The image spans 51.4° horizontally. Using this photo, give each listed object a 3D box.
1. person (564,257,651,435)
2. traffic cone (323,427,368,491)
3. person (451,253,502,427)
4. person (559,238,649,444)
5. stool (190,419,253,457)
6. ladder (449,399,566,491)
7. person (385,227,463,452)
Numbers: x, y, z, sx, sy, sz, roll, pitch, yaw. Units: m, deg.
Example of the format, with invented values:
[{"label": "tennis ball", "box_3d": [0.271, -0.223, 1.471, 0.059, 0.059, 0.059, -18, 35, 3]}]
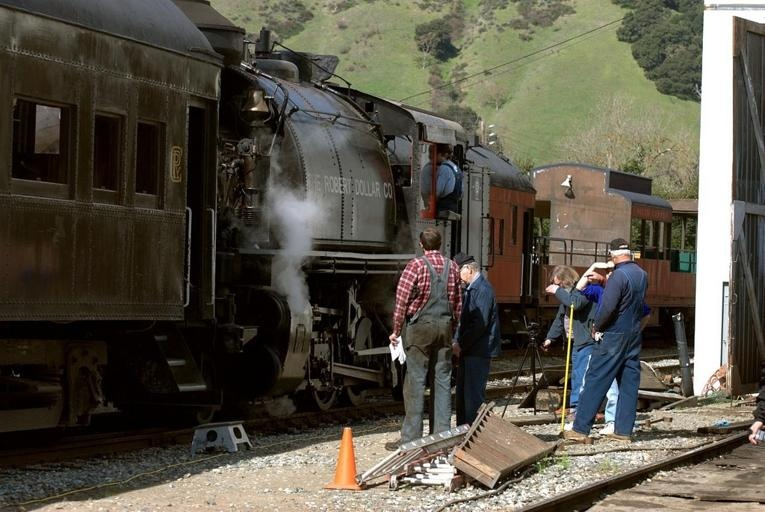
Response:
[{"label": "person", "box_3d": [3.302, 1.198, 11.490, 0.991, 2.992, 0.707, -1, 9, -21]}, {"label": "traffic cone", "box_3d": [-0.434, 2.256, 8.913, 0.417, 0.689, 0.375, 1, 3, 2]}, {"label": "person", "box_3d": [1.270, 1.096, 10.910, 0.691, 2.182, 0.805, 0, -1, 16]}, {"label": "person", "box_3d": [3.250, 1.213, 11.458, 1.084, 2.924, 0.732, 3, -1, -6]}, {"label": "stool", "box_3d": [-2.132, 2.411, 10.501, 0.831, 0.393, 0.408, -1, 3, -29]}, {"label": "ladder", "box_3d": [1.355, 2.190, 9.351, 0.642, 0.691, 1.493, 2, 3, 29]}, {"label": "person", "box_3d": [0.576, 0.931, 10.237, 0.878, 2.503, 1.231, 0, 0, 20]}]
